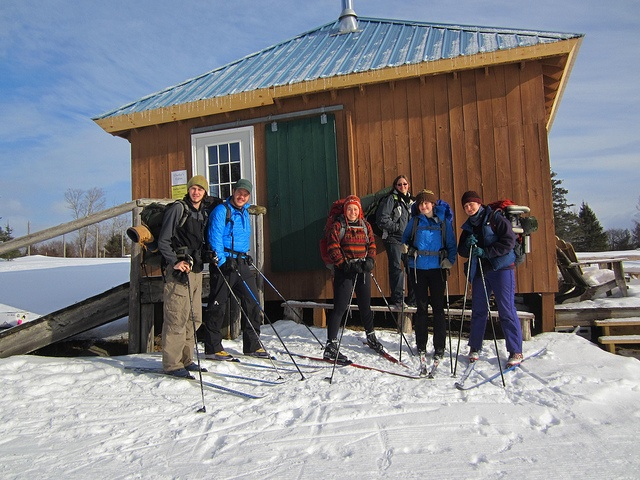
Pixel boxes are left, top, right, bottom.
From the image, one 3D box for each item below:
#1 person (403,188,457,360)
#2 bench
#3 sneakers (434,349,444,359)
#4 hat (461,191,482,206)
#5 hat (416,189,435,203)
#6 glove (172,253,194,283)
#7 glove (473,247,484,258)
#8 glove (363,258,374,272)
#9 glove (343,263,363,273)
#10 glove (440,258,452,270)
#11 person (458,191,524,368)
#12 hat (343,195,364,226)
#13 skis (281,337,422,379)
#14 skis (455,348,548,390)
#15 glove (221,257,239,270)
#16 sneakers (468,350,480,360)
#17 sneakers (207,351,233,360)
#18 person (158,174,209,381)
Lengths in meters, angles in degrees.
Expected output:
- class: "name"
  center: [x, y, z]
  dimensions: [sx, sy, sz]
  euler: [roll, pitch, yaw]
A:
- class: "person"
  center: [1.510, 0.471, 8.394]
  dimensions: [0.735, 2.180, 0.847]
  euler: [1, 14, 8]
- class: "bench"
  center: [5.172, 0.517, 11.580]
  dimensions: [1.147, 1.331, 1.000]
  euler: [-4, 0, 3]
- class: "sneakers"
  center: [1.614, 1.572, 8.334]
  dimensions: [0.104, 0.123, 0.167]
  euler: [2, 20, -1]
- class: "hat"
  center: [2.091, -0.596, 8.370]
  dimensions: [0.168, 0.202, 0.240]
  euler: [-9, -12, 33]
- class: "hat"
  center: [1.478, -0.624, 8.489]
  dimensions: [0.184, 0.209, 0.266]
  euler: [-2, -16, 17]
- class: "glove"
  center: [-1.769, 0.381, 8.005]
  dimensions: [0.283, 0.330, 0.304]
  euler: [23, -3, 1]
- class: "glove"
  center: [2.122, 0.162, 8.149]
  dimensions: [0.117, 0.151, 0.115]
  euler: [-10, -6, 40]
- class: "glove"
  center: [0.667, 0.340, 8.333]
  dimensions: [0.123, 0.185, 0.071]
  euler: [2, -10, 5]
- class: "glove"
  center: [0.446, 0.366, 8.255]
  dimensions: [0.174, 0.156, 0.091]
  euler: [4, -32, 17]
- class: "glove"
  center: [1.731, 0.343, 8.320]
  dimensions: [0.169, 0.184, 0.158]
  euler: [0, 15, 5]
- class: "person"
  center: [2.326, 0.507, 8.244]
  dimensions: [0.953, 2.230, 0.709]
  euler: [5, 15, 23]
- class: "hat"
  center: [0.468, -0.450, 8.564]
  dimensions: [0.222, 0.362, 0.350]
  euler: [1, 33, 1]
- class: "skis"
  center: [0.461, 1.667, 8.420]
  dimensions: [2.221, 0.140, 0.243]
  euler: [7, 14, 32]
- class: "skis"
  center: [2.379, 1.723, 7.964]
  dimensions: [1.179, 0.075, 0.127]
  euler: [-23, 12, -36]
- class: "glove"
  center: [-1.258, 0.377, 8.458]
  dimensions: [0.168, 0.215, 0.149]
  euler: [-21, -24, 39]
- class: "sneakers"
  center: [2.112, 1.599, 8.328]
  dimensions: [0.089, 0.132, 0.132]
  euler: [2, -31, 7]
- class: "sneakers"
  center: [-1.415, 1.649, 8.535]
  dimensions: [0.336, 0.191, 0.151]
  euler: [-2, -4, 0]
- class: "person"
  center: [-1.838, 0.481, 8.102]
  dimensions: [0.561, 2.550, 0.909]
  euler: [0, 13, 4]
